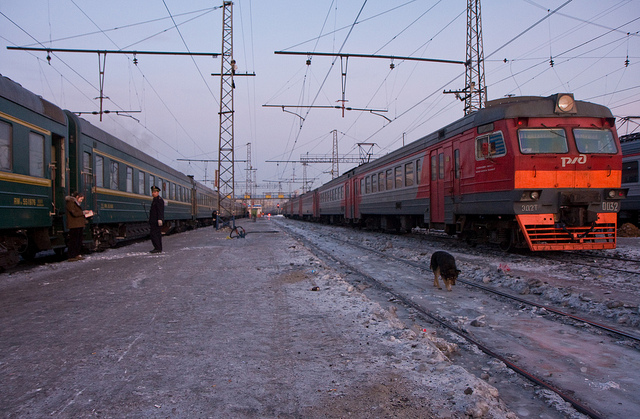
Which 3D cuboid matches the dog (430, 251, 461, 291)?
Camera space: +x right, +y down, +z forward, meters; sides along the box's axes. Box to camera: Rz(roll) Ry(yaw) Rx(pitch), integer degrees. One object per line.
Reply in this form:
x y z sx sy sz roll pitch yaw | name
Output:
2.733 1.347 9.643 0.342 0.849 0.648 -3 0 -17 | dog

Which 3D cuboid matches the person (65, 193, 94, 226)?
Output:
-6.973 -0.015 12.680 0.546 0.933 0.623 -3 0 -17 | person
